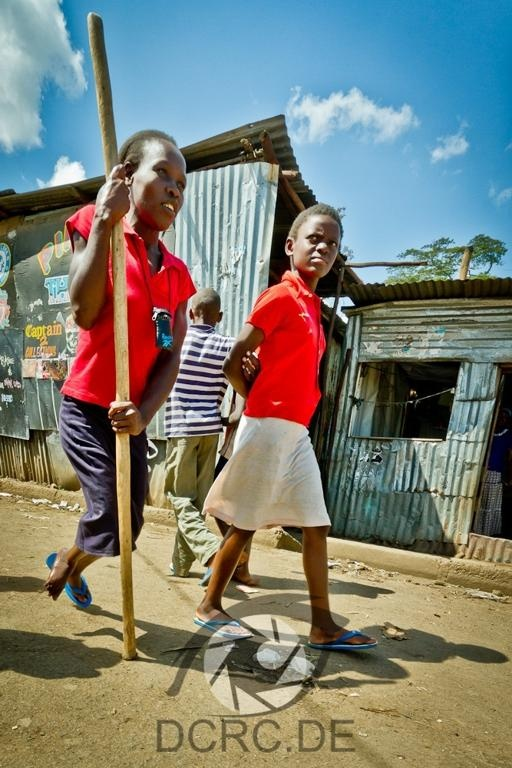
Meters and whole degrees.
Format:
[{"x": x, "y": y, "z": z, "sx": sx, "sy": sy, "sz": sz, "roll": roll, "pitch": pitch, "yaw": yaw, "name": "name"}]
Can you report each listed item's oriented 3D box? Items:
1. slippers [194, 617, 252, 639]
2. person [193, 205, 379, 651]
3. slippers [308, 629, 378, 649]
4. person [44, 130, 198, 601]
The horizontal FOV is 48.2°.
[{"x": -0.136, "y": 1.020, "z": 2.448, "sx": 0.213, "sy": 0.059, "sz": 0.100, "roll": -1, "pitch": -16, "yaw": 26, "name": "slippers"}, {"x": 0.176, "y": 0.091, "z": 2.649, "sx": 0.712, "sy": 2.085, "sz": 0.347, "roll": 13, "pitch": -7, "yaw": -15, "name": "person"}, {"x": 0.394, "y": 1.093, "z": 2.492, "sx": 0.249, "sy": 0.067, "sz": 0.109, "roll": -2, "pitch": -17, "yaw": 7, "name": "slippers"}, {"x": -0.564, "y": -0.051, "z": 2.251, "sx": 0.472, "sy": 1.328, "sz": 0.741, "roll": 10, "pitch": -7, "yaw": 4, "name": "person"}]
